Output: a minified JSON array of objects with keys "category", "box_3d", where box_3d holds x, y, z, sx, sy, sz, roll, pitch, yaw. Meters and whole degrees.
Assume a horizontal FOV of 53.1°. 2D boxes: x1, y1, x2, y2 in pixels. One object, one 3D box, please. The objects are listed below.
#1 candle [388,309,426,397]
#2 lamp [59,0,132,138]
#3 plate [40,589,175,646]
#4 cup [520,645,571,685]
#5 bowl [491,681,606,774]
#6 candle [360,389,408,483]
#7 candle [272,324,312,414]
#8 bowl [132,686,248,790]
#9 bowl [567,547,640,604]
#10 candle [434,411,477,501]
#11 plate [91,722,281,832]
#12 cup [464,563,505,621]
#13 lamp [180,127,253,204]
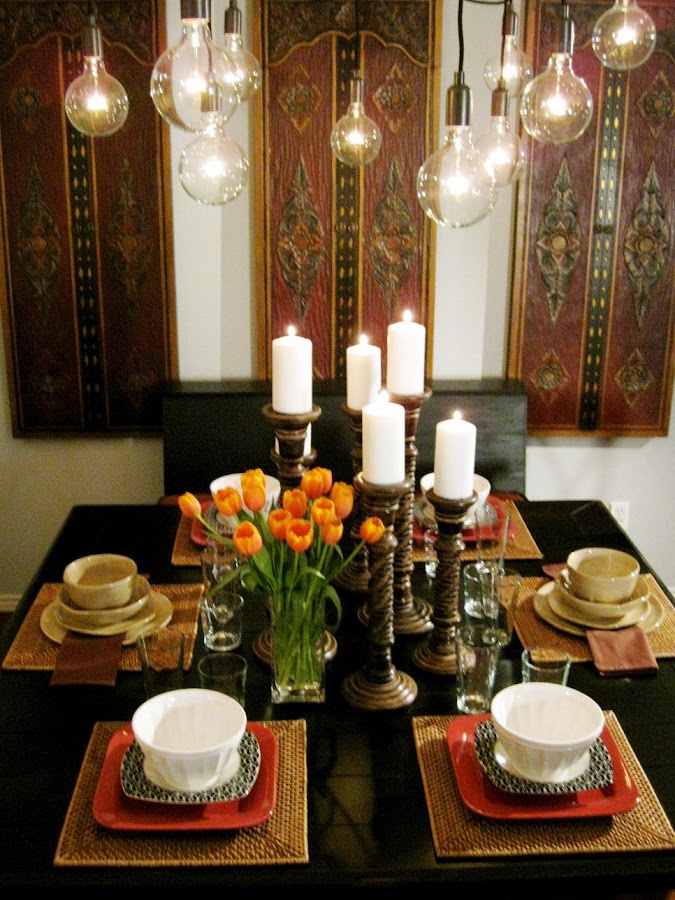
[{"category":"candle","box_3d":[0.112,-0.148,1.126,0.061,0.116,0.043,3,12,9]},{"category":"lamp","box_3d":[-0.403,-0.615,1.119,0.086,0.203,0.089,2,6,36]},{"category":"plate","box_3d":[-0.373,0.297,1.201,0.136,0.022,0.146,2,13,11]},{"category":"cup","box_3d":[0.299,0.314,0.975,0.060,0.072,0.062,-1,11,0]},{"category":"bowl","box_3d":[0.244,0.304,0.781,0.093,0.065,0.099,-2,26,1]},{"category":"candle","box_3d":[0.061,-0.009,0.911,0.056,0.099,0.074,2,12,5]},{"category":"candle","box_3d":[-0.078,-0.131,1.109,0.069,0.140,0.071,11,15,41]},{"category":"bowl","box_3d":[-0.170,0.312,0.768,0.094,0.061,0.096,0,19,0]},{"category":"bowl","box_3d":[0.489,0.207,1.257,0.096,0.067,0.106,-6,17,-16]},{"category":"candle","box_3d":[0.184,0.003,1.060,0.063,0.131,0.176,3,12,9]},{"category":"plate","box_3d":[-0.179,0.381,0.793,0.205,0.013,0.186,0,12,-5]},{"category":"cup","box_3d":[0.251,0.245,1.169,0.072,0.096,0.087,2,5,11]},{"category":"lamp","box_3d":[-0.178,-0.409,0.952,0.090,0.105,0.072,-10,16,-41]}]
